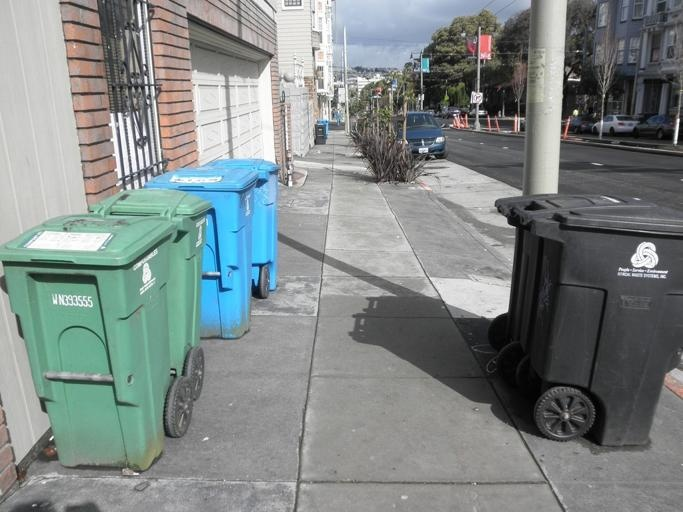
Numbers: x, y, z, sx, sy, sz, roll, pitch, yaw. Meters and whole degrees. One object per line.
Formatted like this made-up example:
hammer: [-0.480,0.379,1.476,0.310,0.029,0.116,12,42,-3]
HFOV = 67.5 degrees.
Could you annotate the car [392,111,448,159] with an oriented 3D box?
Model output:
car: [3.588,-5.188,21.889,1.604,1.866,2.645,1,19,9]
